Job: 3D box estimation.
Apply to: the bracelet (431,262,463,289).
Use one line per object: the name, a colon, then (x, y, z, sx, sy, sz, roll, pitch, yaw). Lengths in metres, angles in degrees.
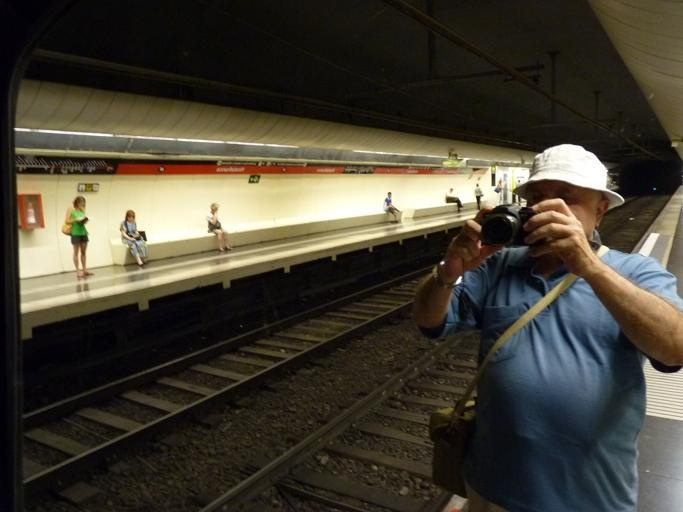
bracelet: (0.418, 0.075, 1.700, 0.112, 0.098, 0.034, 3, 6, 16)

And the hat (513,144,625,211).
hat: (0.827, -0.254, 1.548, 0.297, 0.140, 0.278, 2, 4, 25)

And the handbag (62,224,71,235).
handbag: (-5.166, -0.500, 7.956, 0.147, 0.174, 0.073, 4, -1, -38)

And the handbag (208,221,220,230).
handbag: (-3.333, -0.801, 11.225, 0.260, 0.209, 0.202, -17, 2, 18)

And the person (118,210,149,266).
person: (-4.607, -0.395, 9.361, 0.466, 1.233, 0.400, -8, 15, -26)

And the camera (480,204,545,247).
camera: (0.610, -0.115, 1.562, 0.283, 0.140, 0.223, -3, 6, -17)

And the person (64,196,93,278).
person: (-5.221, -0.392, 8.399, 0.440, 1.568, 0.884, -9, 15, -31)
